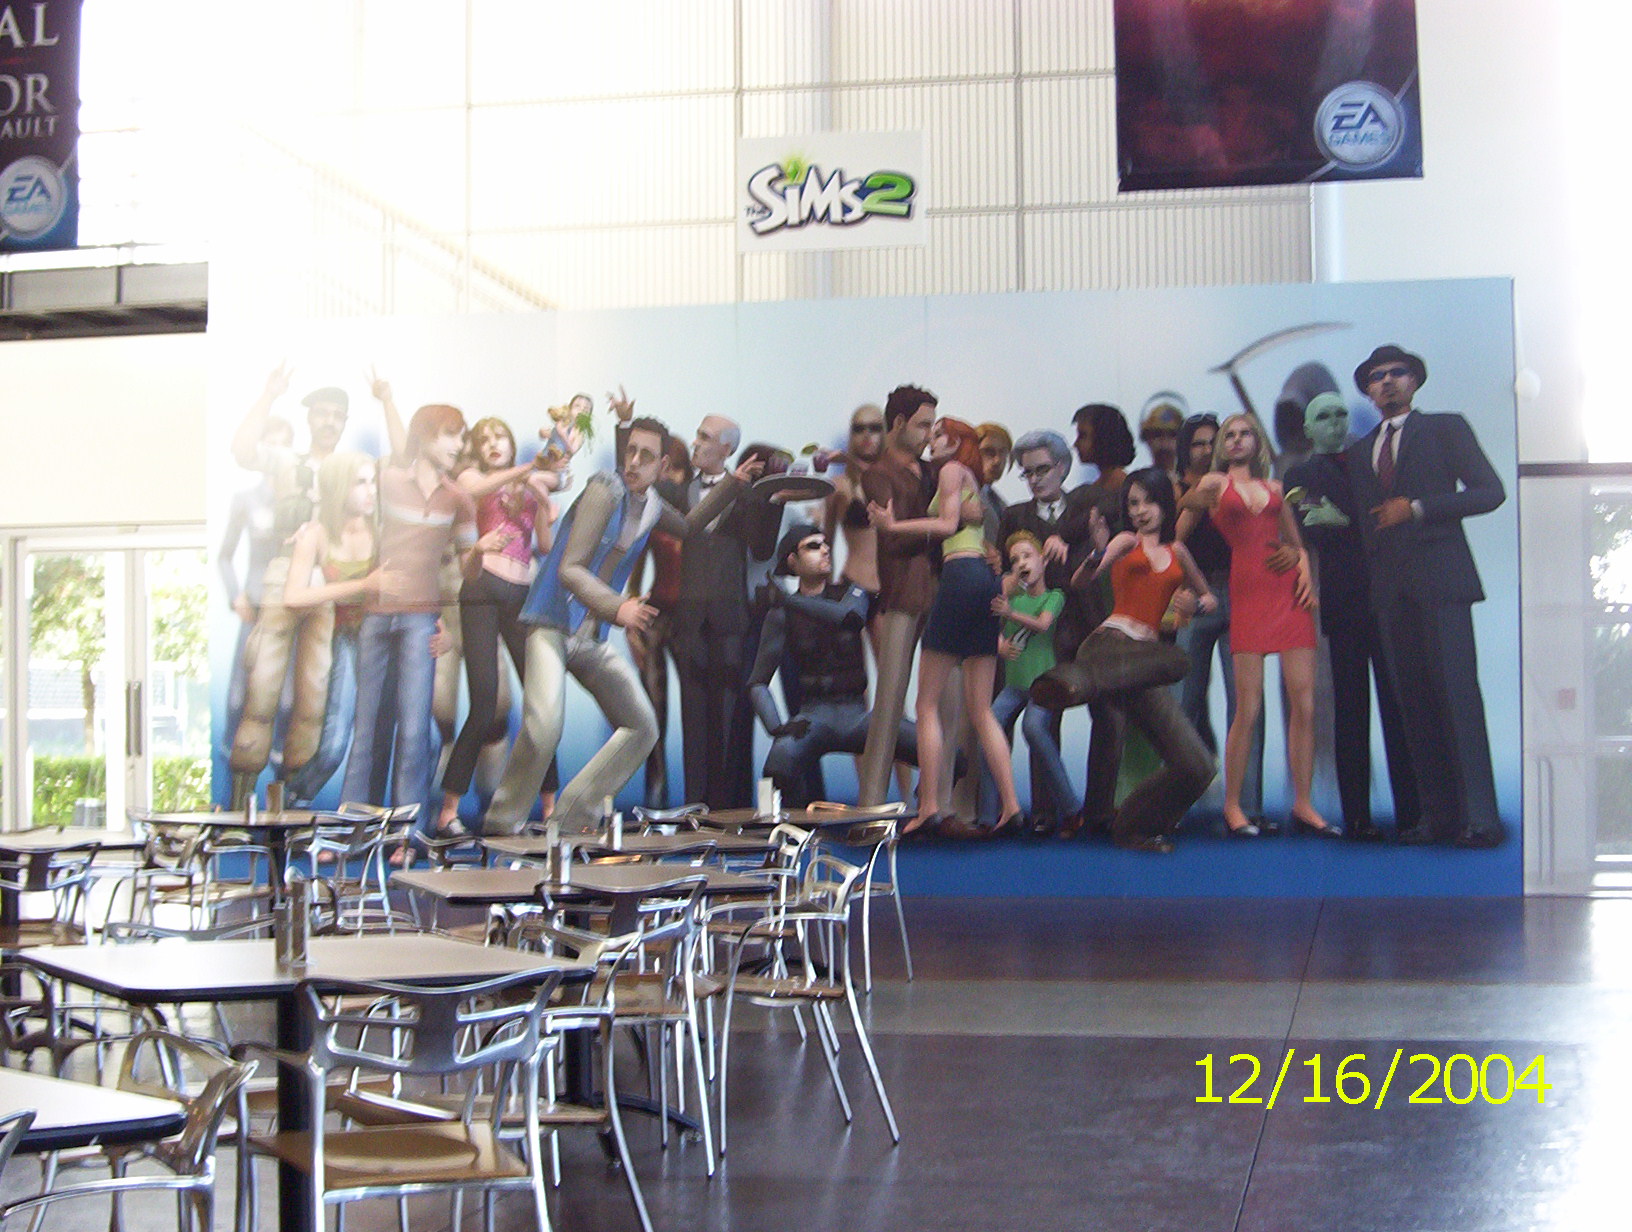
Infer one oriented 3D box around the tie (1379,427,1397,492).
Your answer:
[{"bbox_3d":[4.161,-1.073,14.923,0.130,0.446,0.124,3,9,11],"label":"tie"}]
